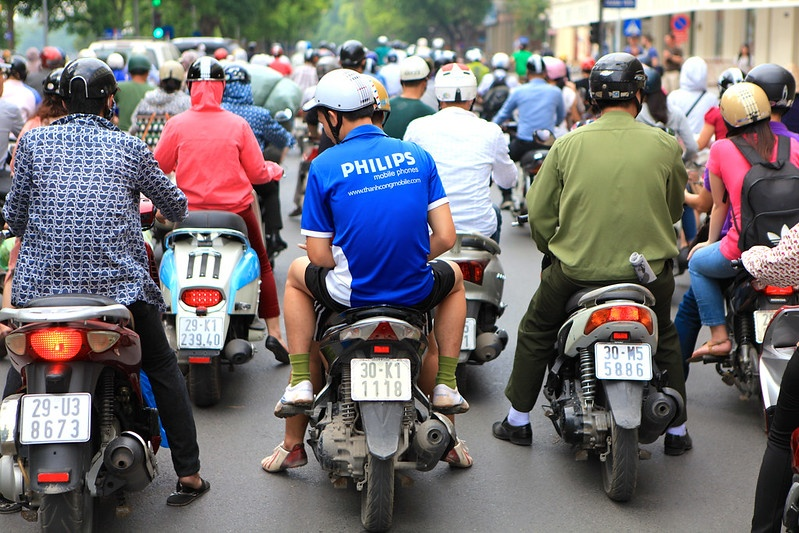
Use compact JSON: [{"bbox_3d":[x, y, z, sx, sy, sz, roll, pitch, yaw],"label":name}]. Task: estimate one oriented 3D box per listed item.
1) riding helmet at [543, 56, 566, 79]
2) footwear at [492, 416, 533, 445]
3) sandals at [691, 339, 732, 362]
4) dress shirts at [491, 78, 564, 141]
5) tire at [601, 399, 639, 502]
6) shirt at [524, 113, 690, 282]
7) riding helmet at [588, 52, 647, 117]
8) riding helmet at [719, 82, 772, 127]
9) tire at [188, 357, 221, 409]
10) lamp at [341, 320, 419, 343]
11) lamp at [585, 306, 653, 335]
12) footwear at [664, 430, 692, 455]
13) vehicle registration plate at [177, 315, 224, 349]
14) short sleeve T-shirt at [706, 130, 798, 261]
[{"bbox_3d":[2.501,-3.121,15.893,0.318,0.358,0.455,-2,32,-2],"label":"riding helmet"},{"bbox_3d":[0.867,1.276,7.712,0.142,0.162,0.343,-4,11,-43],"label":"footwear"},{"bbox_3d":[2.527,0.688,7.988,0.321,0.136,0.131,-1,3,9],"label":"sandals"},{"bbox_3d":[2.016,-2.310,15.102,0.772,0.986,1.403,-1,19,2],"label":"dress shirts"},{"bbox_3d":[1.515,1.310,6.812,0.269,0.614,0.258,2,6,26],"label":"tire"},{"bbox_3d":[1.559,-0.512,7.321,1.135,1.202,0.851,1,7,11],"label":"shirt"},{"bbox_3d":[1.635,-1.311,7.259,0.391,0.485,0.463,9,20,39],"label":"riding helmet"},{"bbox_3d":[2.680,-1.263,7.644,0.280,0.305,0.366,-13,20,9],"label":"riding helmet"},{"bbox_3d":[-1.609,0.939,8.076,0.154,0.397,0.385,-1,-8,3],"label":"tire"},{"bbox_3d":[-0.128,0.401,6.279,0.516,0.147,0.118,-1,5,-4],"label":"lamp"},{"bbox_3d":[1.502,0.363,6.749,0.455,0.204,0.062,-1,5,4],"label":"lamp"},{"bbox_3d":[2.137,1.331,7.540,0.103,0.134,0.266,2,8,25],"label":"footwear"},{"bbox_3d":[-1.610,0.536,7.909,0.254,0.191,0.035,-2,-30,-6],"label":"vehicle registration plate"},{"bbox_3d":[2.691,-0.531,7.436,0.869,1.111,0.565,2,11,13],"label":"short sleeve T-shirt"}]
